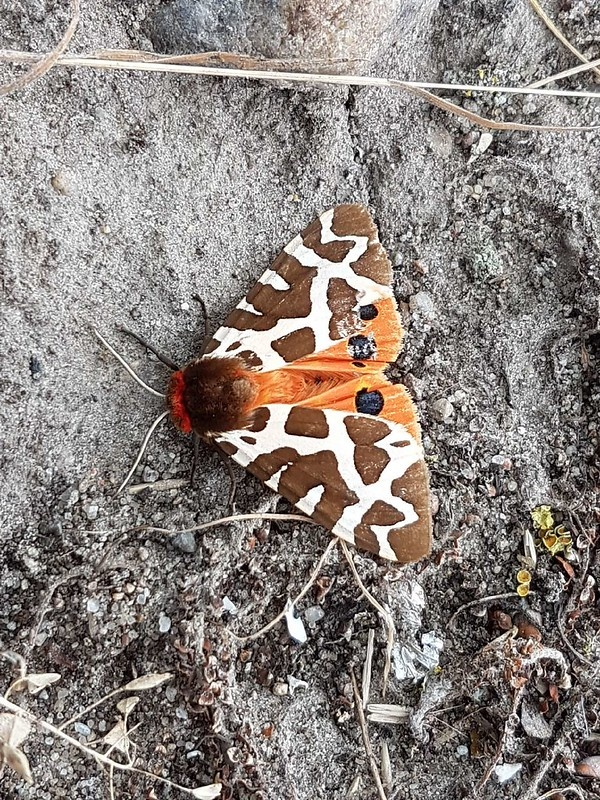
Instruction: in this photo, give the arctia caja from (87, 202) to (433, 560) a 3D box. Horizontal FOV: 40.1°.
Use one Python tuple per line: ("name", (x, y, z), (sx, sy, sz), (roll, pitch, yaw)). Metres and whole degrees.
("arctia caja", (-0.038, 0.004, 2.474), (0.958, 0.311, 1.107), (-13, 89, -17))
